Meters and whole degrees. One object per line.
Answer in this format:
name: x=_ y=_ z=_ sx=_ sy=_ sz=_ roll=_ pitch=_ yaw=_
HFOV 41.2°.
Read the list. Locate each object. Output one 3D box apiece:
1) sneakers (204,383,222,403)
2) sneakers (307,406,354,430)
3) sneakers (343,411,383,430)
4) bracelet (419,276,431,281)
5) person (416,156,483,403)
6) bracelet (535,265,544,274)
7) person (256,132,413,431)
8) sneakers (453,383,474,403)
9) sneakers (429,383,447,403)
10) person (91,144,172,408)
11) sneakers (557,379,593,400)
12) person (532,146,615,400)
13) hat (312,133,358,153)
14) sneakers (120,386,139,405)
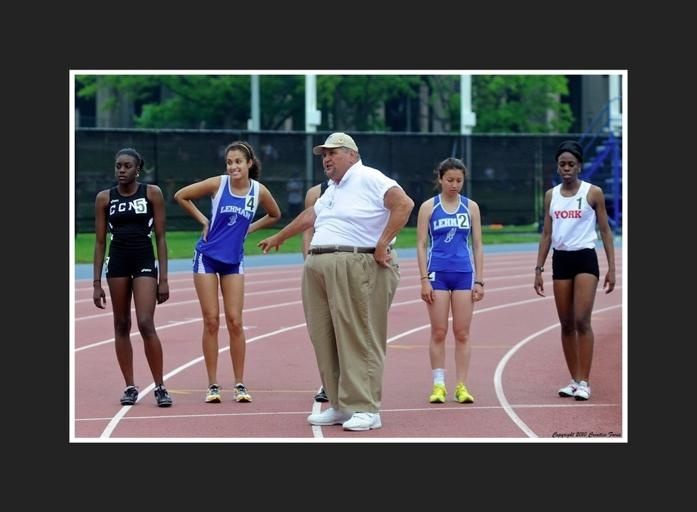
sneakers: x=-1.301 y=1.312 z=8.966 sx=0.165 sy=0.177 sz=0.186 roll=0 pitch=8 yaw=1
sneakers: x=-0.168 y=1.446 z=8.344 sx=0.428 sy=0.210 sz=0.158 roll=2 pitch=-3 yaw=-9
sneakers: x=0.145 y=1.440 z=8.174 sx=0.361 sy=0.178 sz=0.138 roll=4 pitch=-5 yaw=-24
bracelet: x=0.757 y=0.209 z=8.983 sx=0.091 sy=0.044 sz=0.074 roll=-1 pitch=8 yaw=-2
person: x=0.995 y=0.226 z=9.056 sx=0.612 sy=2.321 sz=0.615 roll=0 pitch=7 yaw=5
bracelet: x=1.905 y=0.129 z=9.247 sx=0.110 sy=0.091 sz=0.151 roll=1 pitch=0 yaw=1
person: x=0.062 y=0.361 z=8.169 sx=0.923 sy=2.323 sz=0.517 roll=-1 pitch=7 yaw=-3
sneakers: x=1.122 y=1.310 z=8.944 sx=0.177 sy=0.187 sz=0.135 roll=0 pitch=8 yaw=5
sneakers: x=0.875 y=1.310 z=9.033 sx=0.163 sy=0.183 sz=0.280 roll=0 pitch=8 yaw=6
person: x=-2.055 y=0.212 z=8.860 sx=0.693 sy=2.427 sz=0.710 roll=-2 pitch=8 yaw=-14
sneakers: x=2.210 y=1.290 z=9.008 sx=0.157 sy=0.112 sz=0.271 roll=-8 pitch=-16 yaw=31
person: x=2.198 y=0.141 z=9.054 sx=0.713 sy=2.477 sz=0.723 roll=0 pitch=7 yaw=5
hat: x=-0.117 y=-1.009 z=8.279 sx=0.358 sy=0.170 sz=0.569 roll=-1 pitch=8 yaw=-3
sneakers: x=-2.086 y=1.339 z=8.921 sx=0.092 sy=0.120 sz=0.242 roll=-2 pitch=-8 yaw=1
